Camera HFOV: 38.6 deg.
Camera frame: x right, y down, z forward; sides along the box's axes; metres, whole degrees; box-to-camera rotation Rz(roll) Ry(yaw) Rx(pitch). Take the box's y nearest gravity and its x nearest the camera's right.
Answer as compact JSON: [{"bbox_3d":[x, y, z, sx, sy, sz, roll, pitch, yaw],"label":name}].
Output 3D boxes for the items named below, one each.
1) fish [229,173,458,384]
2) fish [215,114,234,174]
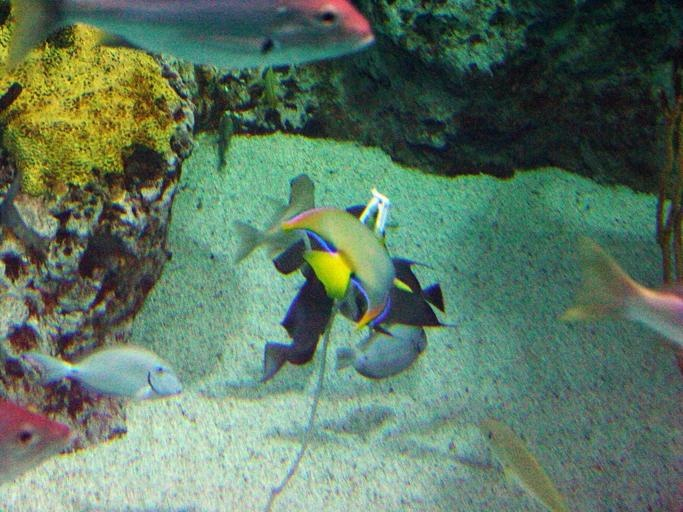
[{"bbox_3d":[-0.051,0.108,3.525,0.346,0.763,0.645,6,67,31],"label":"fish"},{"bbox_3d":[-0.449,-0.438,3.715,0.037,0.098,0.248,9,81,4],"label":"fish"}]
